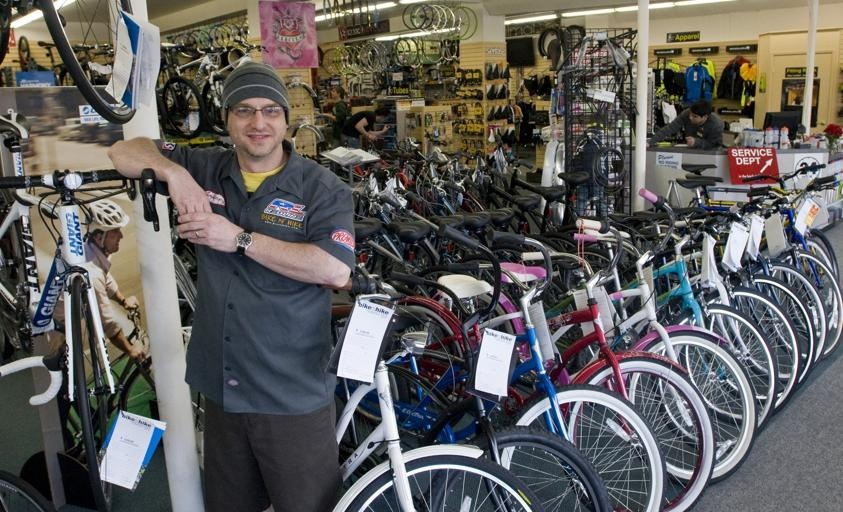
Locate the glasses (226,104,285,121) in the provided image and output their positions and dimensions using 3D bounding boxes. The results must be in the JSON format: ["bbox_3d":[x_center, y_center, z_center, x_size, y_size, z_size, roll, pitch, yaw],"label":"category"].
[{"bbox_3d":[-0.762,-0.672,2.759,0.244,0.067,0.076,-4,13,-14],"label":"glasses"}]

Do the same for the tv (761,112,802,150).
[{"bbox_3d":[4.702,-1.625,7.741,0.583,0.618,0.227,2,7,-3],"label":"tv"}]

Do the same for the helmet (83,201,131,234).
[{"bbox_3d":[-2.085,-0.270,3.927,0.244,0.096,0.181,12,35,28],"label":"helmet"}]

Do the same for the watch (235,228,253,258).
[{"bbox_3d":[-0.797,-0.059,2.658,0.065,0.094,0.084,10,-10,-12],"label":"watch"}]

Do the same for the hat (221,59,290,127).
[{"bbox_3d":[-0.781,-0.762,2.795,0.253,0.244,0.291,0,8,1],"label":"hat"}]
